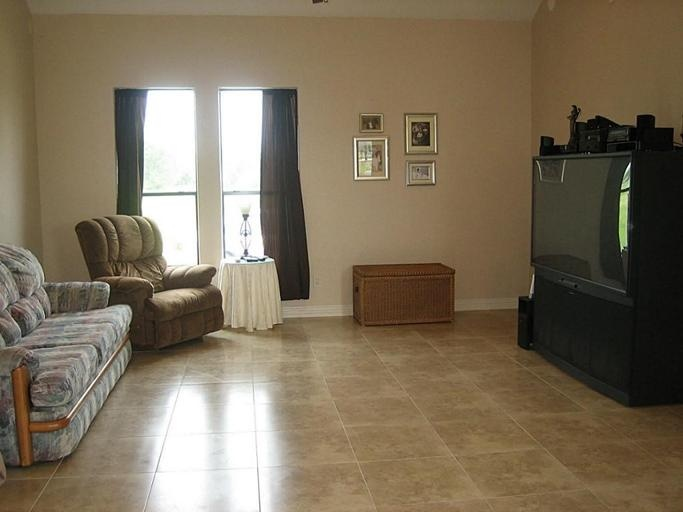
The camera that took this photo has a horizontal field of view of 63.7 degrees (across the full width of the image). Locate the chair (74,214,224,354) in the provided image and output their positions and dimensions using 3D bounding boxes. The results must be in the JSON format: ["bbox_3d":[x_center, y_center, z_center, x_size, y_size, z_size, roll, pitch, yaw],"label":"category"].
[{"bbox_3d":[-1.972,0.255,6.014,1.403,1.515,1.351,6,9,24],"label":"chair"}]

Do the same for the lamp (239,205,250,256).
[{"bbox_3d":[-1.112,-0.296,6.450,0.144,0.585,0.444,-3,11,-10],"label":"lamp"}]

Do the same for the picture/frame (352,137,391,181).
[{"bbox_3d":[0.342,-1.204,6.686,0.473,0.583,0.057,-1,2,-4],"label":"picture/frame"}]

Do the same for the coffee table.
[{"bbox_3d":[-0.995,0.405,6.344,0.740,0.779,0.722,-2,0,14],"label":"coffee table"}]
